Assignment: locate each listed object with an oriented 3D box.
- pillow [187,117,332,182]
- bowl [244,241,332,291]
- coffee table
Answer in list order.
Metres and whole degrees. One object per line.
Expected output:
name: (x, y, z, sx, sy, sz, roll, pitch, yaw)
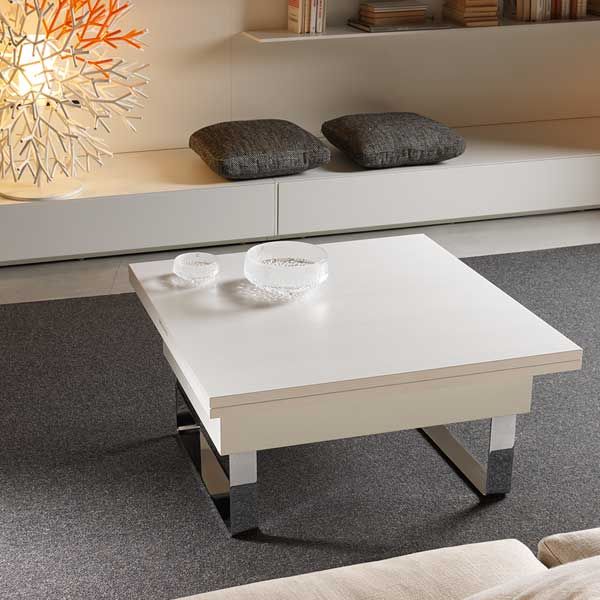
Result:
pillow: (-0.213, -0.857, 3.246, 0.690, 0.251, 0.523, -12, 29, -16)
bowl: (-0.056, -0.107, 1.684, 0.271, 0.088, 0.249, 0, 9, 0)
coffee table: (0.084, 0.114, 1.457, 0.965, 0.378, 0.875, -7, 26, -16)
